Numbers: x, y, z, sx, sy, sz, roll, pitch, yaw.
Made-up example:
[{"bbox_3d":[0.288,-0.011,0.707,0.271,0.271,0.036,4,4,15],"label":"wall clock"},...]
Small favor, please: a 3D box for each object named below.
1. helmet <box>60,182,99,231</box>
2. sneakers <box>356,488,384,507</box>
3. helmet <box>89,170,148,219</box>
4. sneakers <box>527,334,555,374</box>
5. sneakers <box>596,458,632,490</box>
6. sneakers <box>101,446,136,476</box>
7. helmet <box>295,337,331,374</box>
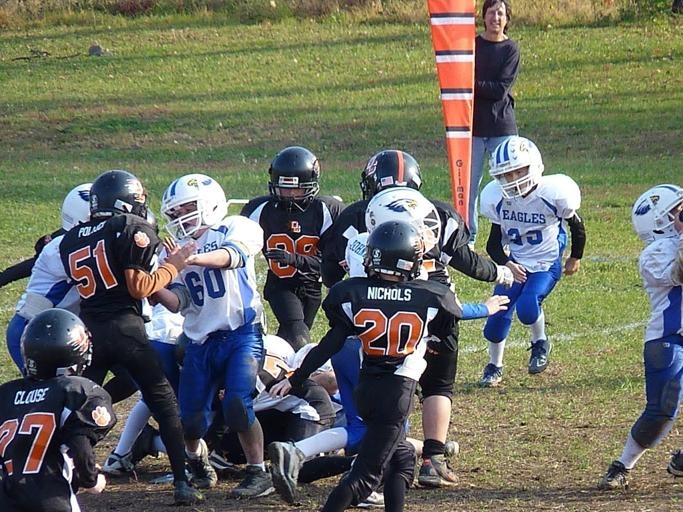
[{"bbox_3d":[-3.071,-0.577,15.863,0.424,0.486,0.562,6,4,-40],"label":"helmet"},{"bbox_3d":[0.363,2.607,14.813,0.403,0.185,0.149,-1,4,-4],"label":"sneakers"},{"bbox_3d":[-2.427,-0.678,15.209,0.580,0.471,0.450,-2,3,-44],"label":"helmet"},{"bbox_3d":[2.451,1.201,16.809,0.170,0.206,0.525,-2,46,32],"label":"sneakers"},{"bbox_3d":[2.979,2.360,14.899,0.185,0.212,0.462,30,20,22],"label":"sneakers"},{"bbox_3d":[-2.470,2.298,15.369,0.394,0.142,0.193,4,35,-16],"label":"sneakers"},{"bbox_3d":[-0.381,1.120,15.486,0.453,0.325,0.589,-9,-12,8],"label":"helmet"}]
